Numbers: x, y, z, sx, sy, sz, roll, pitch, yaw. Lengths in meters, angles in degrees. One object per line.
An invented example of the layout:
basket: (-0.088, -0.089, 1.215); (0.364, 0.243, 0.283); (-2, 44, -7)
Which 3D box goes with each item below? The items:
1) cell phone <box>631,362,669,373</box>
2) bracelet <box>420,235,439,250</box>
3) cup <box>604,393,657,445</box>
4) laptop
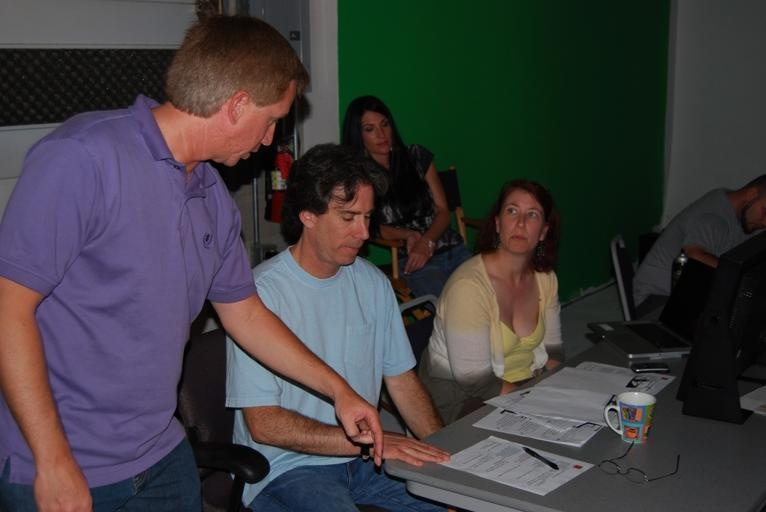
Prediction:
cell phone: (1.104, 0.462, 2.396); (0.121, 0.025, 0.065); (1, 9, -3)
bracelet: (0.315, -0.084, 3.927); (0.092, 0.056, 0.080); (41, 18, 29)
cup: (0.827, 0.549, 1.979); (0.184, 0.146, 0.124); (-2, 2, 32)
laptop: (1.280, 0.269, 2.659); (0.426, 0.325, 0.463); (-3, 6, -6)
